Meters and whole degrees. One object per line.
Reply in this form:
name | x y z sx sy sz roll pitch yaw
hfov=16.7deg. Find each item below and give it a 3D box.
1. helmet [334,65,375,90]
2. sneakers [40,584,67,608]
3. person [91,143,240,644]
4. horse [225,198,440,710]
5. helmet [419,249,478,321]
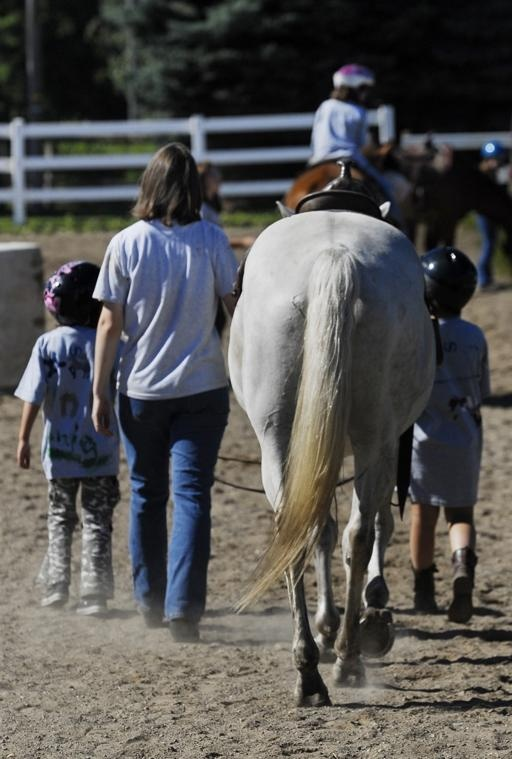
helmet | 0.624 -1.931 11.090 0.227 0.155 0.540 0 15 1
sneakers | -0.809 0.898 7.191 0.106 0.129 0.072 -10 -23 22
person | -0.352 0.047 6.953 0.556 1.940 0.582 4 13 19
horse | 0.492 0.107 7.282 0.630 2.261 2.746 1 3 15
helmet | 0.758 -0.408 7.181 0.200 0.296 0.290 1 41 -4
